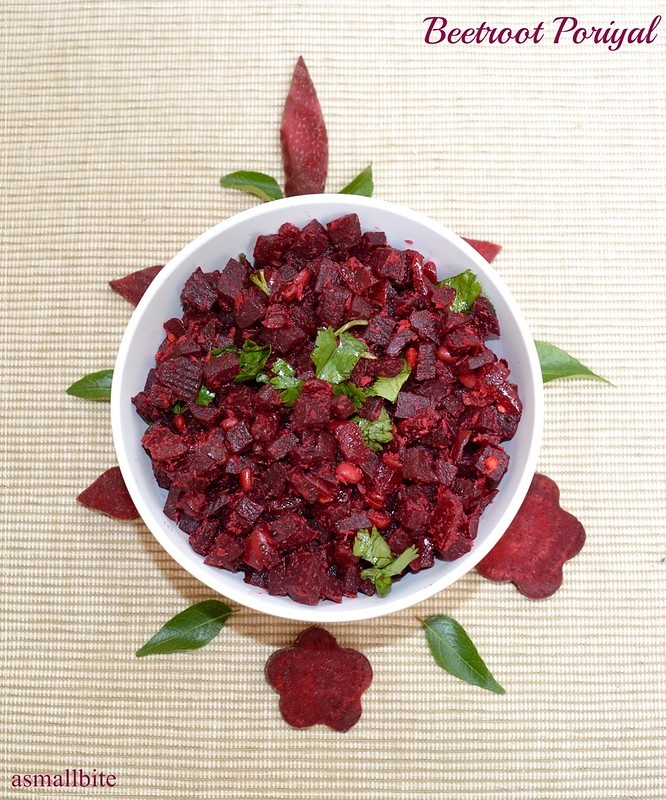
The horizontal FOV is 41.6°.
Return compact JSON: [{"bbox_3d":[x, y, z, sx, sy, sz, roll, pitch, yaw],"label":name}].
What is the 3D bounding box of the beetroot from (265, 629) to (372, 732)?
[{"bbox_3d":[-0.039,0.723,2.226,0.315,0.033,0.263,-1,88,-4],"label":"beetroot"}]
